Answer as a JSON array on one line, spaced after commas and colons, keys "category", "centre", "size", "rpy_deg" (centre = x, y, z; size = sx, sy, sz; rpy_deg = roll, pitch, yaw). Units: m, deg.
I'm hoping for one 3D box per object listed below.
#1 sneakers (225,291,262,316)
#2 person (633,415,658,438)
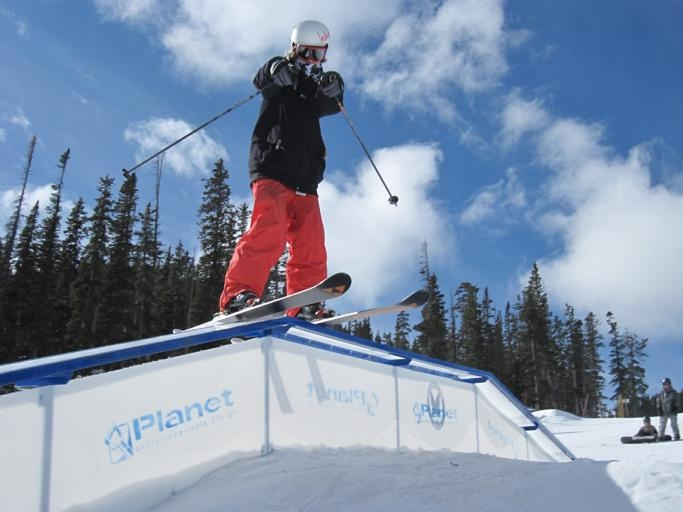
[{"category": "sneakers", "centre": [-0.963, 0.447, 6.526], "size": [0.290, 0.112, 0.187], "rpy_deg": [-17, 2, 33]}, {"category": "person", "centre": [7.076, 3.871, 15.667], "size": [0.274, 0.405, 1.177], "rpy_deg": [-5, 0, 19]}]
